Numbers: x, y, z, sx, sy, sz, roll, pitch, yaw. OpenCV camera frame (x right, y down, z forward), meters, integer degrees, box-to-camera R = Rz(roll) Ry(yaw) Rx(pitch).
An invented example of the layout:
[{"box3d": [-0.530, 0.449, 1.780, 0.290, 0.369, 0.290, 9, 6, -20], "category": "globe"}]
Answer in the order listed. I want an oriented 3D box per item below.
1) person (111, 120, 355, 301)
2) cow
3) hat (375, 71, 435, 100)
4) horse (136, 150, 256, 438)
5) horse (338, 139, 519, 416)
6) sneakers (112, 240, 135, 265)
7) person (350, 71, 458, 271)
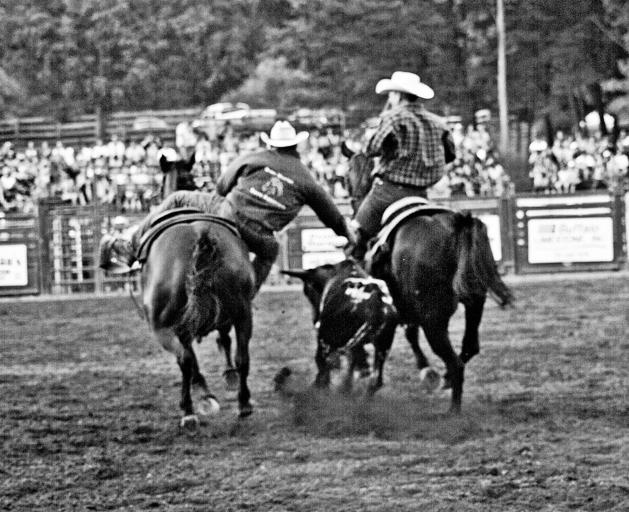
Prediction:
[{"box3d": [-0.592, -0.170, 9.271, 0.932, 1.201, 1.917, 23, 23, 23], "category": "person"}, {"box3d": [0.236, 0.445, 9.801, 0.495, 0.721, 1.202, -6, 24, -20], "category": "cow"}, {"box3d": [0.613, -1.150, 9.511, 0.246, 0.109, 0.243, 16, 11, 12], "category": "hat"}, {"box3d": [-0.844, 0.187, 9.761, 0.581, 1.547, 2.154, -6, 16, -8], "category": "horse"}, {"box3d": [0.768, 0.153, 9.438, 1.038, 1.733, 0.629, -1, 0, 44], "category": "horse"}, {"box3d": [-1.294, -0.023, 9.439, 0.126, 0.197, 0.181, -3, -13, 3], "category": "sneakers"}, {"box3d": [0.592, -0.480, 9.744, 0.597, 1.604, 0.601, 7, 2, -4], "category": "person"}]
